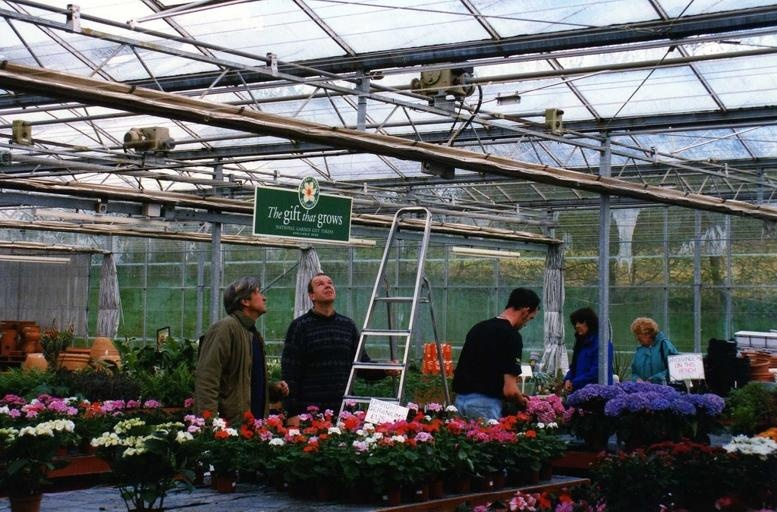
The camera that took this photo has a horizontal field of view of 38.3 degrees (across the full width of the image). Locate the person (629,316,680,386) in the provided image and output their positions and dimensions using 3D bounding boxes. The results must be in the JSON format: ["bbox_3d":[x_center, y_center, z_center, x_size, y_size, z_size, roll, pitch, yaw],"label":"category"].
[{"bbox_3d":[3.861,1.399,16.340,0.586,0.911,0.454,2,-5,14],"label":"person"}]
